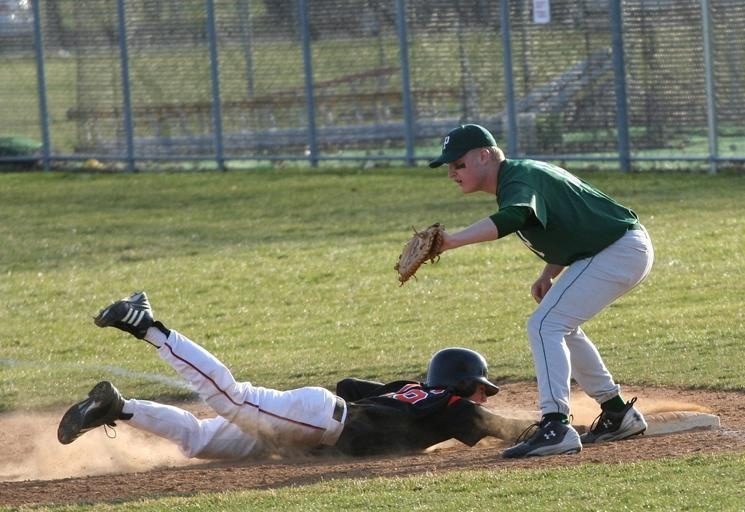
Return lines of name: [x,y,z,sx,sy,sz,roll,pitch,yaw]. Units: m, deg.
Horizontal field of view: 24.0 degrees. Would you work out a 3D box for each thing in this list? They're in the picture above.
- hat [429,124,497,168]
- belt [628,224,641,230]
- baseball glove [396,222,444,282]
hat: [1.088,-1.414,21.661,0.709,0.409,0.480,-19,6,-9]
belt: [3.230,-0.377,21.619,0.102,0.082,0.080,-4,4,-21]
baseball glove: [0.569,-0.049,21.494,0.650,0.743,0.312,-1,7,11]
